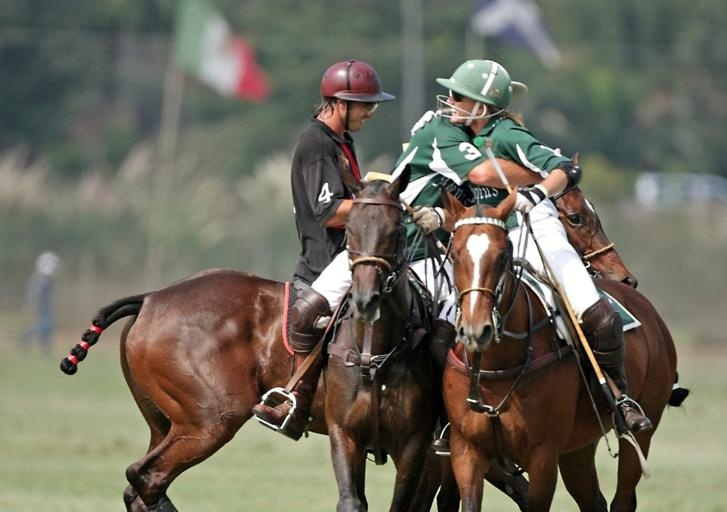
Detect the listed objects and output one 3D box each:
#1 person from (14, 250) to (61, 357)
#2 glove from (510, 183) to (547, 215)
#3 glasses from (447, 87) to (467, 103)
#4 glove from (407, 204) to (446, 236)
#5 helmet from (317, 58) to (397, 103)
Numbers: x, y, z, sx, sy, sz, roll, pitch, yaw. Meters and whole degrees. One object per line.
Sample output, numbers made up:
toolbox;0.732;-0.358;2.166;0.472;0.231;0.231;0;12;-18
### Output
person;-6.717;0.943;29.379;0.677;2.088;0.807;3;2;-14
glove;1.940;-0.683;16.658;0.355;0.154;0.288;-16;32;-4
glasses;1.140;-1.954;17.327;0.125;0.163;0.074;22;36;38
glove;0.751;-0.420;16.927;0.443;0.215;0.426;5;2;6
helmet;-0.140;-2.214;17.895;0.657;0.371;0.568;0;2;4
